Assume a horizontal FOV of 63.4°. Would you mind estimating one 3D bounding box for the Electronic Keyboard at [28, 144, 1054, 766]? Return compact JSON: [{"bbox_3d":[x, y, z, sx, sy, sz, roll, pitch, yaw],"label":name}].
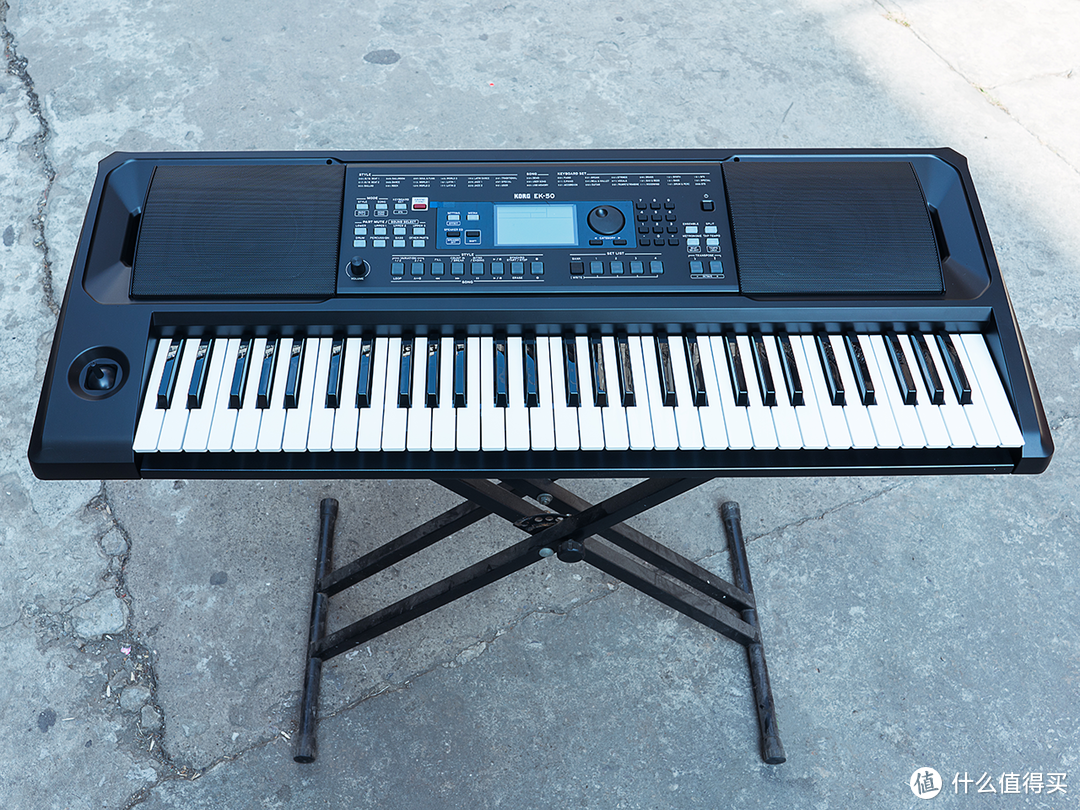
[{"bbox_3d":[-0.040,0.207,3.588,3.179,2.128,1.117,0,70,-3],"label":"Electronic Keyboard"}]
